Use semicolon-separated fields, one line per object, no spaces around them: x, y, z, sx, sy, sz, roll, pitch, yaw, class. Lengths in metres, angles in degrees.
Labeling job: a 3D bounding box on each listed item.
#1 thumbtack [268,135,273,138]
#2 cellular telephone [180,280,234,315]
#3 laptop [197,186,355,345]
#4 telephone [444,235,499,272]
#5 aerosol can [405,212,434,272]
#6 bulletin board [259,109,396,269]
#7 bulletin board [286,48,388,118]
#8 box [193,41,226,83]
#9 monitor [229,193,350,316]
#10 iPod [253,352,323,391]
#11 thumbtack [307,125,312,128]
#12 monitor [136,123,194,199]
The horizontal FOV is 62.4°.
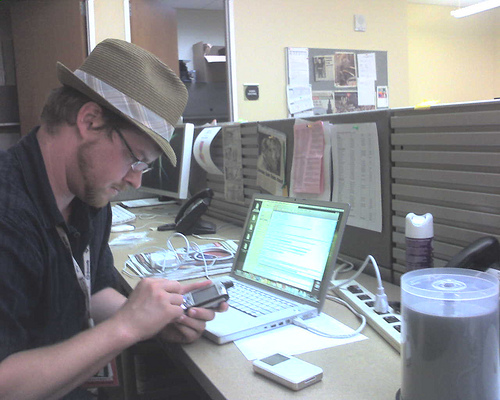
0.079;-0.240;1.571;0.005;0.009;0.010;-14;6;-38;thumbtack
-0.099;0.213;0.984;0.122;0.062;0.095;0;8;-32;cellular telephone
0.000;0.136;1.043;0.456;0.251;0.487;-4;5;-13;laptop
0.473;0.117;0.879;0.121;0.066;0.036;-7;13;-22;telephone
0.399;0.101;0.989;0.055;0.143;0.067;1;5;19;aerosol can
0.221;-0.062;1.411;0.029;0.483;0.666;-10;15;-30;bulletin board
0.826;-1.091;3.828;1.132;0.587;0.132;-8;14;-26;bulletin board
-0.478;-1.557;4.743;0.477;0.392;0.547;0;5;-13;box
0.198;0.098;1.199;0.338;0.271;0.386;-2;13;-36;monitor
0.072;0.323;0.788;0.123;0.024;0.068;9;16;39;iPod
0.195;-0.243;1.361;0.009;0.004;0.012;3;5;11;thumbtack
-0.438;-0.197;2.207;0.185;0.418;0.476;-7;14;-26;monitor
